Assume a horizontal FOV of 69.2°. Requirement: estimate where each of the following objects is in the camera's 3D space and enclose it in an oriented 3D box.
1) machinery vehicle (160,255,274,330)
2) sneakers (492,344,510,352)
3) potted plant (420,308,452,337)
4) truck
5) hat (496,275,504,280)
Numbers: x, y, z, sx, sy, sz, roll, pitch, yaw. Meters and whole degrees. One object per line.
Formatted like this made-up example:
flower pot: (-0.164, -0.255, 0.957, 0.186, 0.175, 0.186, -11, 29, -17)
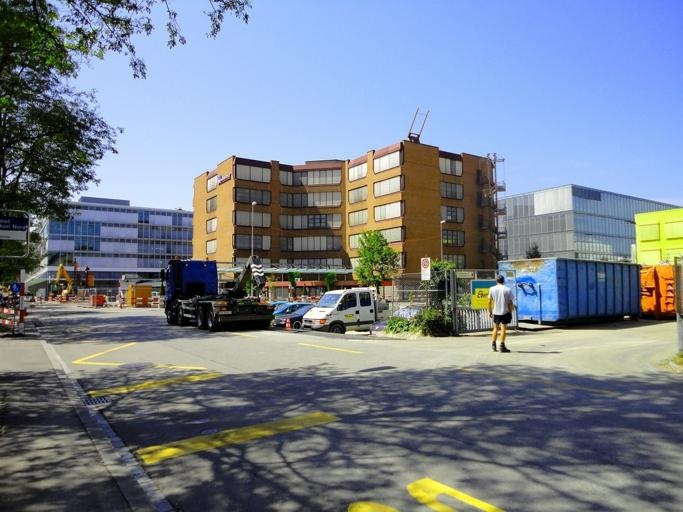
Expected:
machinery vehicle: (-6.178, 1.894, 24.423, 2.597, 3.316, 8.091, 3, -4, -35)
sneakers: (4.361, 2.491, 13.422, 0.537, 0.249, 0.199, -1, 0, -13)
potted plant: (3.420, 2.412, 17.858, 0.911, 0.665, 0.941, 0, -3, 42)
truck: (0.102, 2.456, 22.179, 3.136, 1.696, 1.712, 8, -12, -39)
hat: (4.678, 0.664, 14.482, 0.154, 0.202, 0.208, 5, 5, 6)
